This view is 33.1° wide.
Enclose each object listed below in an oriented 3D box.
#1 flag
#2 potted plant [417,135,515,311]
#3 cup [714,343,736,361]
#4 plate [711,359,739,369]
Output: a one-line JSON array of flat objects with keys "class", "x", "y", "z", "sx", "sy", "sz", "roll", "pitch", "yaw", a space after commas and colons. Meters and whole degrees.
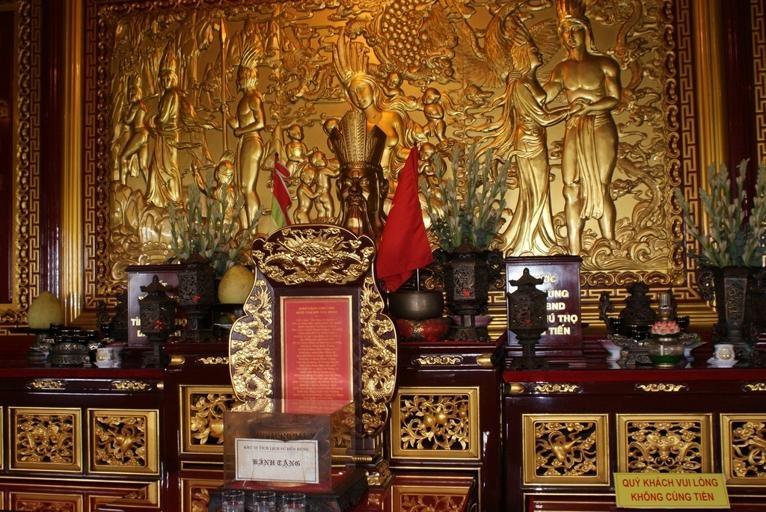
[{"class": "flag", "x": 0.108, "y": -0.223, "z": 6.710, "sx": 0.286, "sy": 0.681, "sz": 0.080, "roll": 0, "pitch": -4, "yaw": -1}, {"class": "potted plant", "x": 0.498, "y": -0.072, "z": 6.936, "sx": 0.492, "sy": 0.859, "sz": 0.333, "roll": -4, "pitch": -10, "yaw": 37}, {"class": "cup", "x": 1.766, "y": 0.496, "z": 6.648, "sx": 0.088, "sy": 0.061, "sz": 0.087, "roll": 0, "pitch": 2, "yaw": 0}, {"class": "plate", "x": 1.746, "y": 0.550, "z": 6.602, "sx": 0.143, "sy": 0.047, "sz": 0.207, "roll": -1, "pitch": -4, "yaw": 14}]
